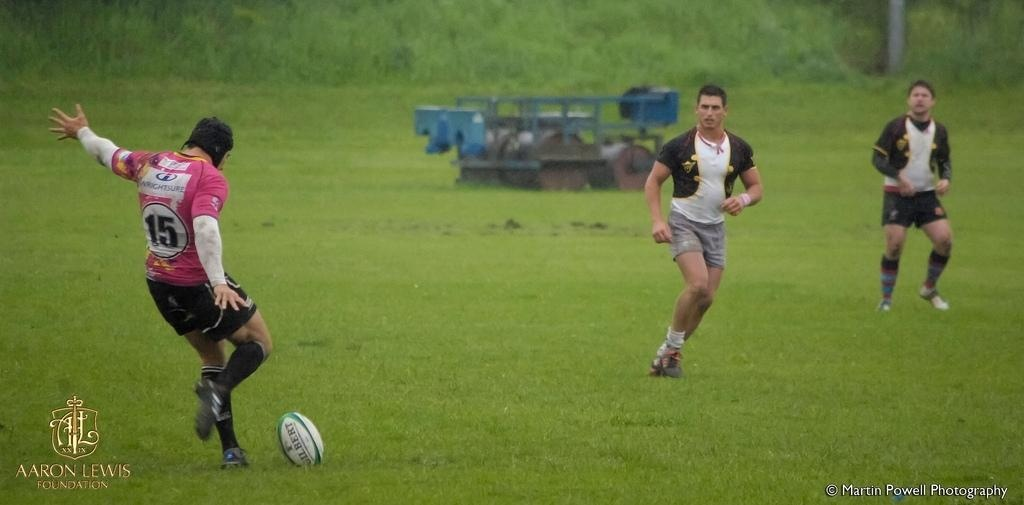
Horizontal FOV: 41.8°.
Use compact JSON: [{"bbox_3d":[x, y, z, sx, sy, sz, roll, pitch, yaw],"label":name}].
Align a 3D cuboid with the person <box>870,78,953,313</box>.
[{"bbox_3d":[5.700,-0.799,18.933,1.271,3.127,1.608,2,3,16],"label":"person"}]
